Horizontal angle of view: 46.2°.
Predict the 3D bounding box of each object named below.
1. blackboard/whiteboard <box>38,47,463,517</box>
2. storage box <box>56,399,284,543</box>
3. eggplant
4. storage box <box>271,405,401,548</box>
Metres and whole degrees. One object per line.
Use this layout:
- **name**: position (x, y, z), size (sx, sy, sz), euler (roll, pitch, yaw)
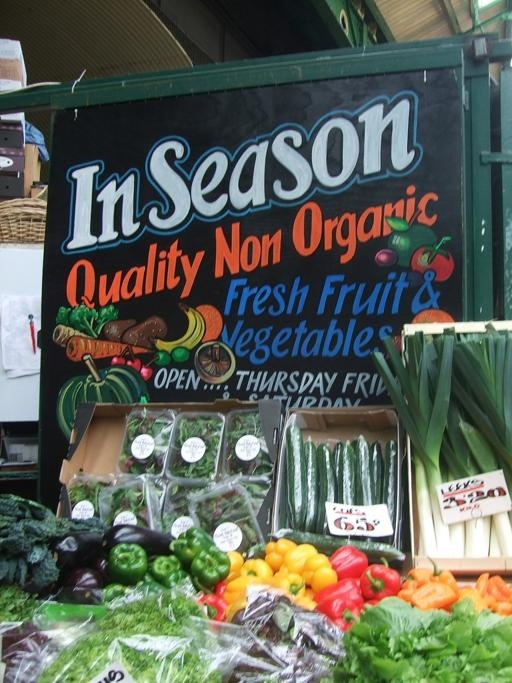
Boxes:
- **blackboard/whiteboard**: position (0.029, -0.296, 3.196), size (2.482, 2.787, 0.039), euler (-2, -7, 17)
- **storage box**: position (-0.346, 0.530, 2.697), size (0.795, 0.650, 0.681), euler (-4, 5, 11)
- **eggplant**: position (-0.478, 0.683, 1.974), size (0.214, 0.196, 0.269), euler (0, 5, 33)
- **storage box**: position (0.363, 0.532, 2.459), size (0.371, 0.555, 0.187), euler (-7, -45, 21)
